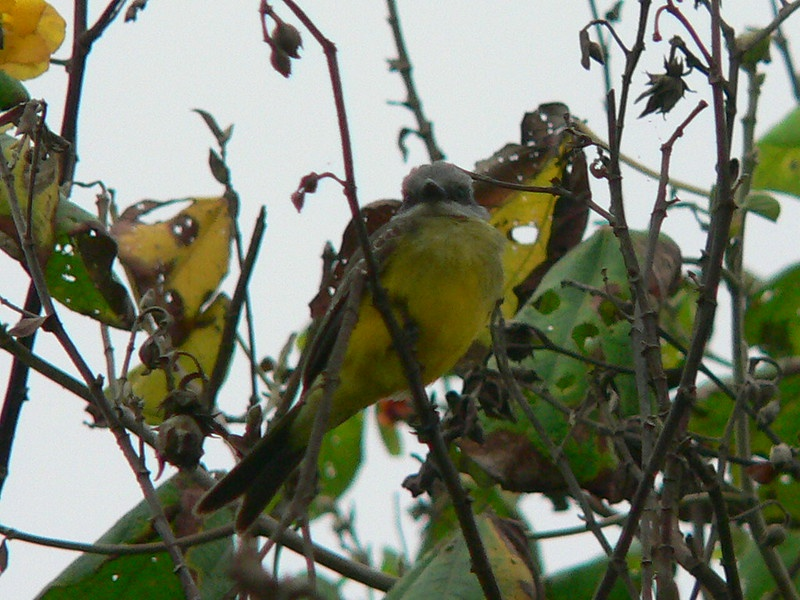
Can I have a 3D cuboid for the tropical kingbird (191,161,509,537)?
[{"bbox_3d":[-0.078,0.119,5.712,0.953,1.765,0.634,-13,-57,9],"label":"tropical kingbird"}]
